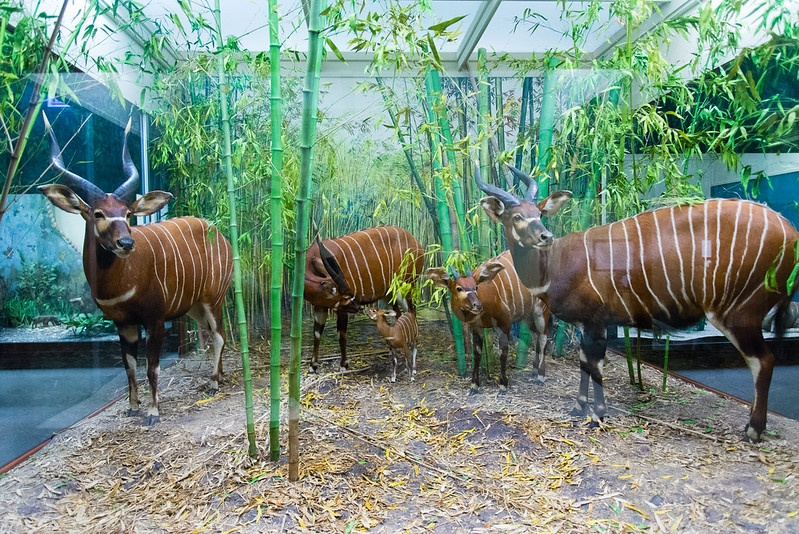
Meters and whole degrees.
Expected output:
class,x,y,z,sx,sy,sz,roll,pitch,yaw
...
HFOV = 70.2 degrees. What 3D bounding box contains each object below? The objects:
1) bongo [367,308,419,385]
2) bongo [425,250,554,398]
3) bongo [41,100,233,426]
class,x,y,z,sx,sy,sz,roll,pitch,yaw
bongo,-0.005,0.541,4.119,0.336,0.513,0.363,-1,3,30
bongo,0.721,0.378,3.978,0.530,1.000,1.341,0,4,43
bongo,-1.595,0.022,3.702,0.514,1.920,1.192,-2,3,19
